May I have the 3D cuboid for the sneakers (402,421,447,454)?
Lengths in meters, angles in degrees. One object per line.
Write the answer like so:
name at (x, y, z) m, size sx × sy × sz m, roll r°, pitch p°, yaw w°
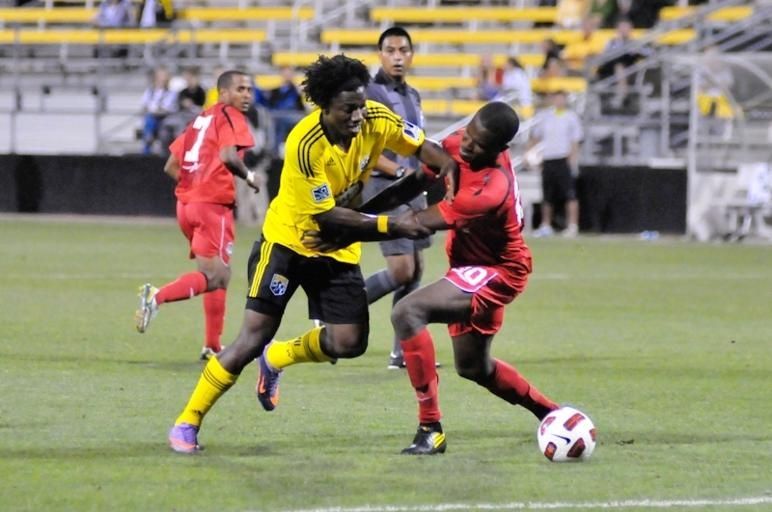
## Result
sneakers at (0.283, 1.457, 12.697) m, size 0.222 × 0.245 × 0.451 m, roll 9°, pitch 16°, yaw 32°

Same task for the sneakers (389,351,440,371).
sneakers at (0.269, 0.951, 14.606) m, size 0.539 × 0.193 × 0.164 m, roll -2°, pitch 0°, yaw 0°

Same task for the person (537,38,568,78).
person at (2.624, -3.113, 25.270) m, size 0.394 × 0.384 × 1.151 m, roll -23°, pitch -11°, yaw 14°

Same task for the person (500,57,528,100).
person at (1.978, -2.685, 24.641) m, size 0.440 × 0.652 × 0.635 m, roll 1°, pitch 14°, yaw 3°

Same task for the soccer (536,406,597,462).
soccer at (1.348, 1.379, 12.758) m, size 0.442 × 0.397 × 0.419 m, roll 0°, pitch 14°, yaw 2°

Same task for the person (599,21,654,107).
person at (2.675, -2.210, 18.376) m, size 0.934 × 0.925 × 0.393 m, roll 6°, pitch 12°, yaw 9°

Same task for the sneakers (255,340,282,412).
sneakers at (-0.963, 1.002, 13.333) m, size 0.283 × 0.529 × 0.210 m, roll -1°, pitch 11°, yaw 26°

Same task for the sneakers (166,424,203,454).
sneakers at (-1.534, 1.432, 12.574) m, size 0.299 × 0.251 × 0.177 m, roll 7°, pitch -10°, yaw 11°

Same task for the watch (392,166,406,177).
watch at (0.111, -0.741, 14.078) m, size 0.022 × 0.082 × 0.087 m, roll 21°, pitch 8°, yaw -41°

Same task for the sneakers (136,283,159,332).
sneakers at (-2.144, 0.450, 14.336) m, size 0.229 × 0.431 × 0.177 m, roll 10°, pitch -5°, yaw -36°
